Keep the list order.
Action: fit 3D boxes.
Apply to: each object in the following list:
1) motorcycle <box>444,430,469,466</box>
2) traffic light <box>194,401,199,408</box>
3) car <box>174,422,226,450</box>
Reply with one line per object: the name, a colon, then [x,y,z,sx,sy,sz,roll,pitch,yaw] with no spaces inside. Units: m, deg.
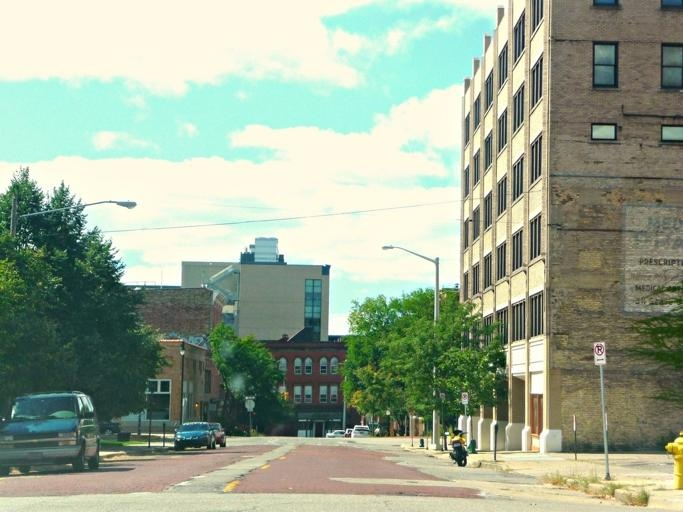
motorcycle: [5.378,9.035,62.501,0.880,1.018,1.539,0,-2,7]
traffic light: [-12.892,13.176,118.107,0.465,0.758,0.243,5,-9,2]
car: [-8.016,10.093,74.841,1.304,0.988,3.193,-2,-17,3]
